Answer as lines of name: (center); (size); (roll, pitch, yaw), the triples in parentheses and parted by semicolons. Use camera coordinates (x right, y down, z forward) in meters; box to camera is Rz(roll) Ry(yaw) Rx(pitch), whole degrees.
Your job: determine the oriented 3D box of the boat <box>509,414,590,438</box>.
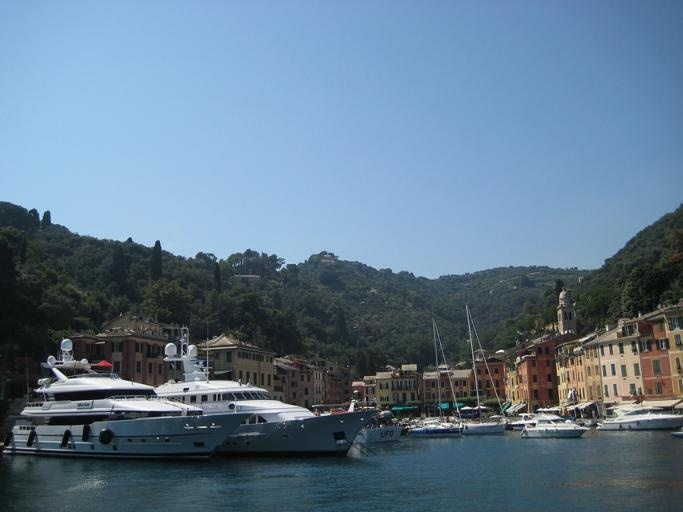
boat: (26.093, 21.371, 76.878); (6.411, 3.718, 11.589); (-7, -20, 5)
